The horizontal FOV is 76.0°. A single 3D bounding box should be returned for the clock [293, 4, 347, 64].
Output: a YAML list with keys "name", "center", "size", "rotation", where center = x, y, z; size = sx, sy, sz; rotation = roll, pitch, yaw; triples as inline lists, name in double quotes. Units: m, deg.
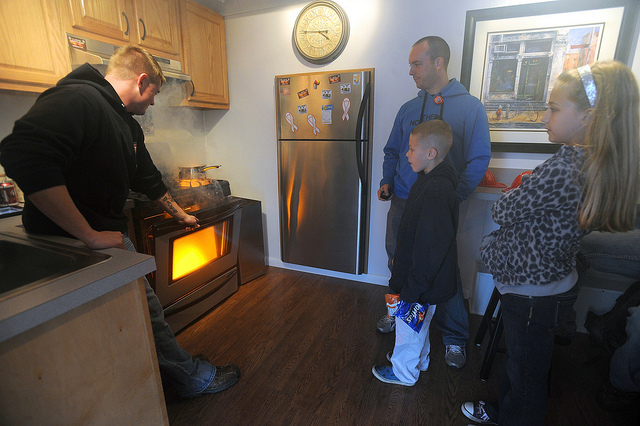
- name: "clock"
  center: [0.006, -1.466, 3.391]
  size: [0.441, 0.459, 0.100]
  rotation: [7, 20, 27]

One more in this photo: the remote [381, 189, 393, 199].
- name: "remote"
  center: [0.498, -0.134, 3.045]
  size: [0.058, 0.016, 0.055]
  rotation: [-24, 29, -22]

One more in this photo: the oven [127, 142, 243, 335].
- name: "oven"
  center: [-1.187, 0.190, 3.339]
  size: [1.119, 1.306, 1.155]
  rotation: [1, 19, -7]

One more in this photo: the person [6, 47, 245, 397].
- name: "person"
  center: [-1.190, 0.086, 2.534]
  size: [0.883, 2.038, 1.051]
  rotation: [-8, 19, -17]

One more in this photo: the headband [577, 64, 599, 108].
- name: "headband"
  center: [1.284, -0.598, 1.983]
  size: [0.040, 0.162, 0.165]
  rotation: [-13, 26, 20]

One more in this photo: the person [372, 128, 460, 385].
- name: "person"
  center: [0.616, 0.284, 2.559]
  size: [0.476, 1.550, 0.542]
  rotation: [7, 20, 27]

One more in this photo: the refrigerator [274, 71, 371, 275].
- name: "refrigerator"
  center: [0.014, -0.329, 3.612]
  size: [0.846, 1.677, 0.257]
  rotation: [5, 20, 24]
